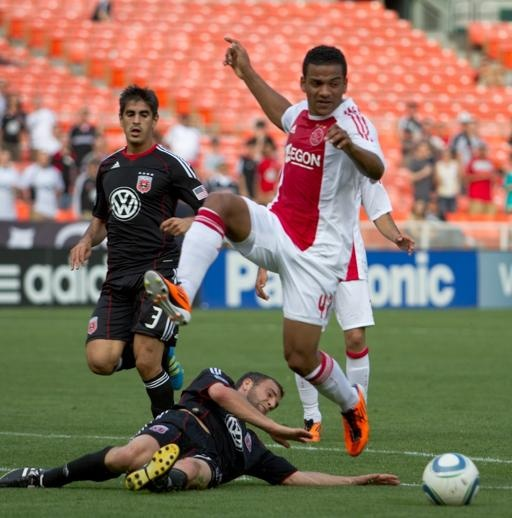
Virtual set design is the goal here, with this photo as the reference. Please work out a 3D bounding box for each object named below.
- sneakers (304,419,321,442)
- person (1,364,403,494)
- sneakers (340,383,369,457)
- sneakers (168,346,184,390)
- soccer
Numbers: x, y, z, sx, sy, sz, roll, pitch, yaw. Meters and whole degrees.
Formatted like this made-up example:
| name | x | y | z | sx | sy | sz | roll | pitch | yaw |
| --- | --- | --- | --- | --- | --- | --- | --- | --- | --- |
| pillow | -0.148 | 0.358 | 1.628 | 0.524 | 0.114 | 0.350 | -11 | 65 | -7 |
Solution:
| name | x | y | z | sx | sy | sz | roll | pitch | yaw |
| --- | --- | --- | --- | --- | --- | --- | --- | --- | --- |
| sneakers | 0.386 | 1.154 | 6.249 | 0.136 | 0.149 | 0.374 | -1 | -9 | 6 |
| person | -0.280 | 0.883 | 4.752 | 1.816 | 0.623 | 0.647 | 1 | 1 | -18 |
| sneakers | 0.569 | 0.957 | 5.588 | 0.150 | 0.411 | 0.189 | -16 | -25 | 31 |
| sneakers | -0.535 | 0.778 | 6.701 | 0.121 | 0.316 | 0.153 | -10 | 4 | -7 |
| soccer | 0.936 | 1.082 | 4.552 | 0.293 | 0.264 | 0.284 | -8 | 10 | 2 |
